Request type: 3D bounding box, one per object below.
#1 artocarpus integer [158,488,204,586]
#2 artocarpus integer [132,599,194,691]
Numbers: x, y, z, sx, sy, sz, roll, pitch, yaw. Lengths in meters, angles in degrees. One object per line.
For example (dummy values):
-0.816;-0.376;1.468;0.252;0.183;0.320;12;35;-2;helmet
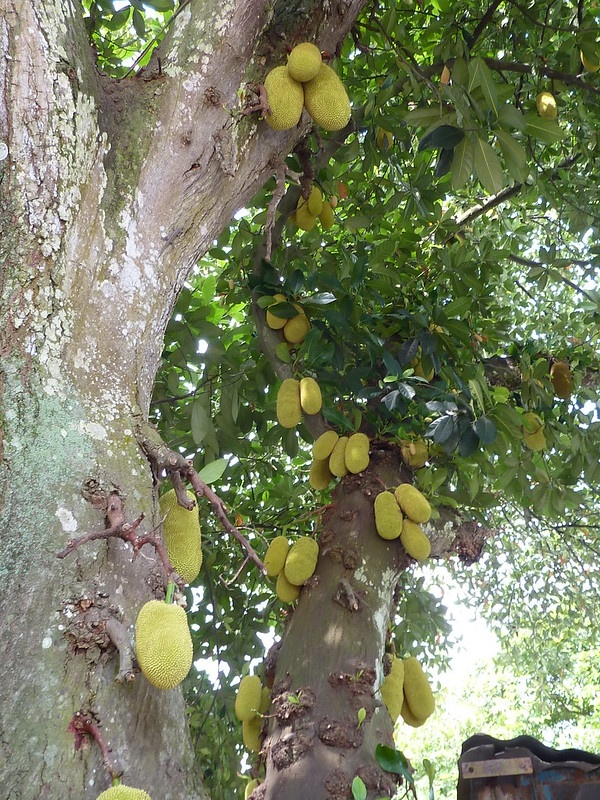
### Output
-0.206;0.217;1.078;0.082;0.170;0.076;1;-28;-14;artocarpus integer
-0.185;0.315;0.831;0.079;0.065;0.137;-3;24;-13;artocarpus integer
